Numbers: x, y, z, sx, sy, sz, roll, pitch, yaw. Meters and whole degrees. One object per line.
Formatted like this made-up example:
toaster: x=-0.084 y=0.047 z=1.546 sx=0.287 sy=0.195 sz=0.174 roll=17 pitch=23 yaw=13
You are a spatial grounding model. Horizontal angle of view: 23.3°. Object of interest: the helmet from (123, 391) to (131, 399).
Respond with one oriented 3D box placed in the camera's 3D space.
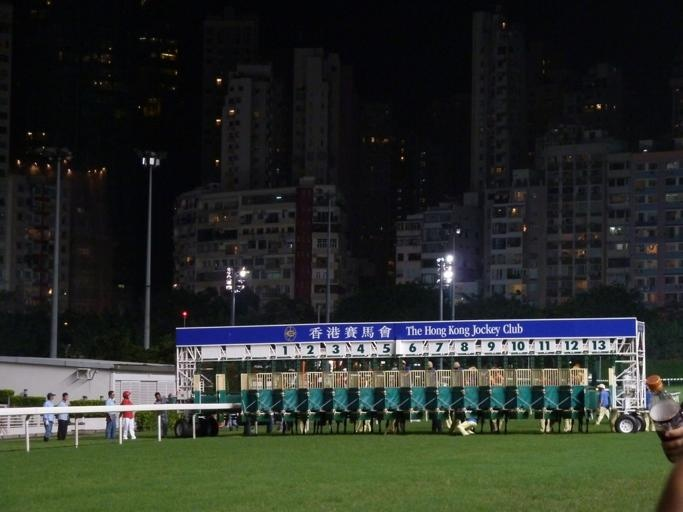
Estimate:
helmet: x=-16.690 y=10.654 z=129.166 sx=0.588 sy=0.513 sz=0.463 roll=-7 pitch=5 yaw=-8
